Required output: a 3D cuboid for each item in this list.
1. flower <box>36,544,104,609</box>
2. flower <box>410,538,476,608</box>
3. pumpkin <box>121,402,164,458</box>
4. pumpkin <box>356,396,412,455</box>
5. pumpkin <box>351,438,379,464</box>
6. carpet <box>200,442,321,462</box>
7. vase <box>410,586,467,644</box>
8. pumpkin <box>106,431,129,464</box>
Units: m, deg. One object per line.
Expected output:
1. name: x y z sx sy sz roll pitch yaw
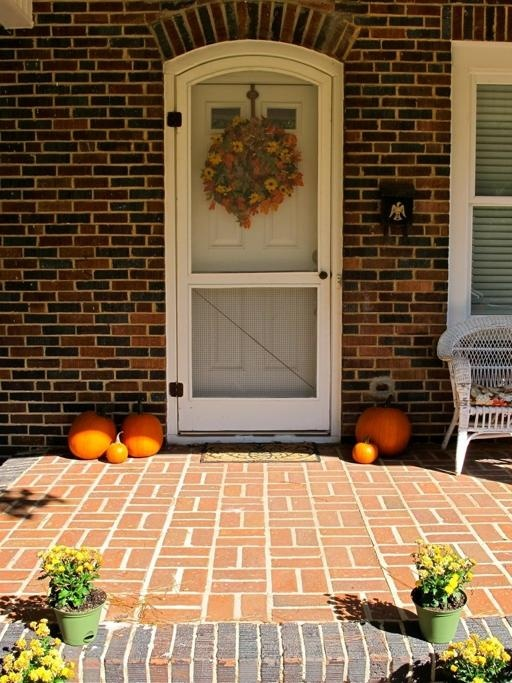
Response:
1. flower: -0.545 0.699 1.764 0.161 0.191 0.154 -3 10 -17
2. flower: 0.534 0.671 1.751 0.187 0.178 0.155 11 58 33
3. pumpkin: -0.759 0.576 3.902 0.262 0.344 0.178 -2 9 -12
4. pumpkin: 0.848 0.582 3.877 0.373 0.324 0.275 0 9 0
5. pumpkin: 0.680 0.695 3.770 0.150 0.129 0.142 1 -2 -23
6. carpet: 0.026 0.740 3.898 0.758 0.018 0.355 0 9 0
7. vase: 0.527 0.815 1.733 0.157 0.110 0.155 1 6 1
8. pumpkin: -0.902 0.682 3.812 0.137 0.164 0.204 -4 10 -24
